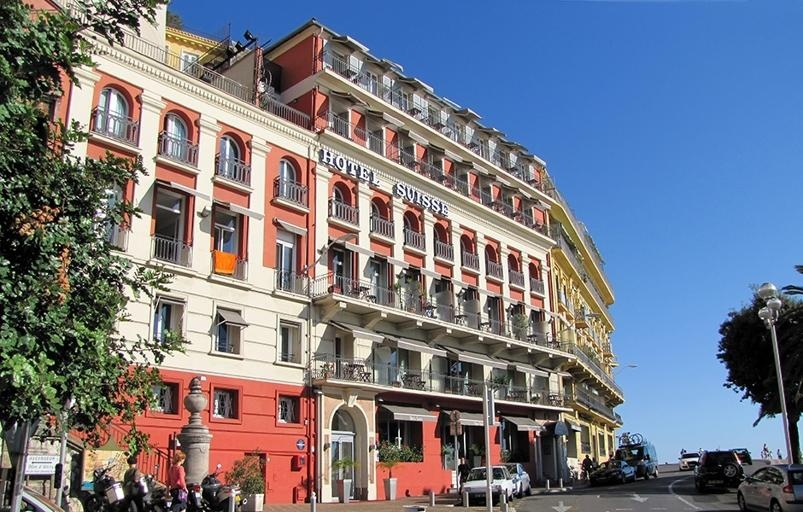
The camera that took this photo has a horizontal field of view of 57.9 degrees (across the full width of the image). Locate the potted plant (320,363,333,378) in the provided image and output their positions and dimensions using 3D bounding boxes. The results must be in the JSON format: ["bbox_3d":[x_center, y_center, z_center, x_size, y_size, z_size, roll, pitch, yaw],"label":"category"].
[{"bbox_3d":[-3.653,5.741,36.192,0.466,0.700,0.676,-11,-37,24],"label":"potted plant"}]

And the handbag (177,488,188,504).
[{"bbox_3d":[-6.917,7.580,22.851,0.396,0.462,0.237,19,-25,-34],"label":"handbag"}]

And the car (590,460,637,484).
[{"bbox_3d":[13.137,13.506,45.305,1.473,1.795,4.398,-17,-28,32],"label":"car"}]
